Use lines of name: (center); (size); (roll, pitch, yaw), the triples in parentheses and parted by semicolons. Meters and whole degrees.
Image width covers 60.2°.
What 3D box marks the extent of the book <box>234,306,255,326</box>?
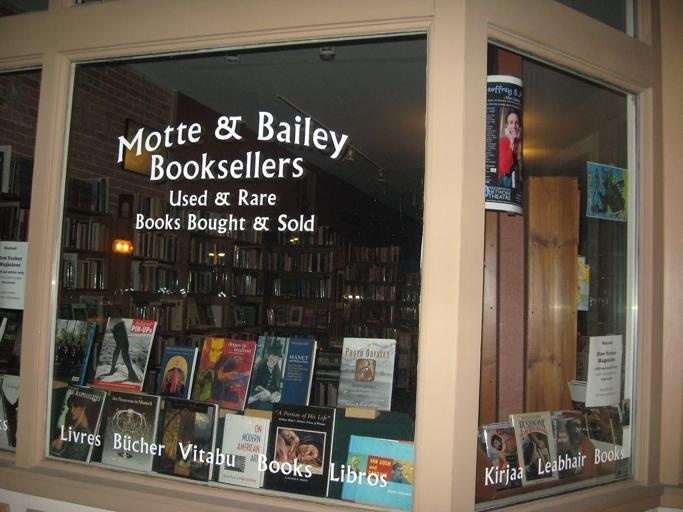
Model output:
book: (-0.457, 0.285, 2.822); (0.109, 0.098, 0.023); (0, -9, 10)

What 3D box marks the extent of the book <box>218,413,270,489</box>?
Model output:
book: (-0.454, 0.859, 2.595); (0.239, 0.277, 0.063); (4, -14, 6)

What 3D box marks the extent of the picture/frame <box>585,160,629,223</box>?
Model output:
picture/frame: (1.287, -0.301, 2.880); (0.258, 0.288, 0.013); (5, -7, -15)

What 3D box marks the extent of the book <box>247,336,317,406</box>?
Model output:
book: (-0.265, 0.553, 2.791); (0.270, 0.364, 0.040); (6, -14, 14)

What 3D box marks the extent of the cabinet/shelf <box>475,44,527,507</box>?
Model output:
cabinet/shelf: (0.744, 0.077, 2.635); (0.274, 1.980, 0.320); (2, -8, -6)

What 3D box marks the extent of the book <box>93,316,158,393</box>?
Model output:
book: (-1.054, 0.502, 2.928); (0.291, 0.381, 0.050); (7, -12, 13)

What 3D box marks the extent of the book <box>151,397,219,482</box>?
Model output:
book: (-0.720, 0.876, 2.757); (0.292, 0.371, 0.047); (2, -18, 6)

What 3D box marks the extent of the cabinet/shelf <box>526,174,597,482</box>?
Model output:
cabinet/shelf: (0.997, 0.170, 2.787); (0.296, 1.108, 0.111); (4, -9, -18)

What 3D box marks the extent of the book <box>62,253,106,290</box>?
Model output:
book: (-1.275, 0.076, 2.937); (0.201, 0.174, 0.044); (4, -9, -17)

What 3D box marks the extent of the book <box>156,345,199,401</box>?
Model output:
book: (-0.785, 0.579, 2.870); (0.225, 0.308, 0.042); (1, -17, 8)

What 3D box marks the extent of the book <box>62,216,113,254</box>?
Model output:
book: (-1.255, -0.103, 2.936); (0.224, 0.160, 0.032); (3, -9, -13)

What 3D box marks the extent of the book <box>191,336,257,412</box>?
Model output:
book: (-0.549, 0.581, 2.836); (0.280, 0.354, 0.045); (7, -14, 13)

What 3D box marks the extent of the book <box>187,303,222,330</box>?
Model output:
book: (-0.658, 0.295, 2.870); (0.134, 0.140, 0.032); (5, 1, 7)

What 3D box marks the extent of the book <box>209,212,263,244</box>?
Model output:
book: (-0.494, -0.134, 2.859); (0.267, 0.146, 0.014); (0, -9, 12)

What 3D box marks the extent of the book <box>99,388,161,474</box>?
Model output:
book: (-1.006, 0.837, 2.814); (0.276, 0.344, 0.061); (0, -9, 11)

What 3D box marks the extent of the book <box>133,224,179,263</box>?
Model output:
book: (-0.907, -0.047, 2.920); (0.230, 0.152, 0.008); (0, -8, 6)
